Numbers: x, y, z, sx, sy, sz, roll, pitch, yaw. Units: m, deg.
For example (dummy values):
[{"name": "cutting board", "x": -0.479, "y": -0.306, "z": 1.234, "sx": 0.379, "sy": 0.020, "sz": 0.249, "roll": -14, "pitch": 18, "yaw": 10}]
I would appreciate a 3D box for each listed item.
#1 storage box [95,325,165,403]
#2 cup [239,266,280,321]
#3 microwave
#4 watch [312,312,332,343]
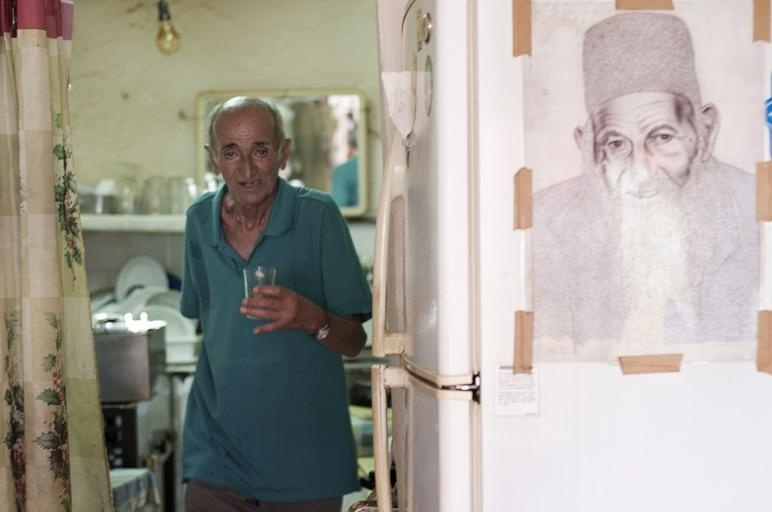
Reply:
[{"name": "storage box", "x": -0.984, "y": 0.393, "z": 4.080, "sx": 0.206, "sy": 0.290, "sz": 0.402, "roll": 0, "pitch": -1, "yaw": -9}, {"name": "cup", "x": -0.362, "y": 0.109, "z": 3.159, "sx": 0.126, "sy": 0.161, "sz": 0.130, "roll": 1, "pitch": -9, "yaw": 0}, {"name": "microwave", "x": -0.962, "y": 0.396, "z": 4.047, "sx": 0.209, "sy": 0.302, "sz": 0.417, "roll": 0, "pitch": 0, "yaw": 0}, {"name": "watch", "x": -0.194, "y": 0.213, "z": 3.232, "sx": 0.063, "sy": 0.078, "sz": 0.041, "roll": 1, "pitch": -2, "yaw": -27}]
